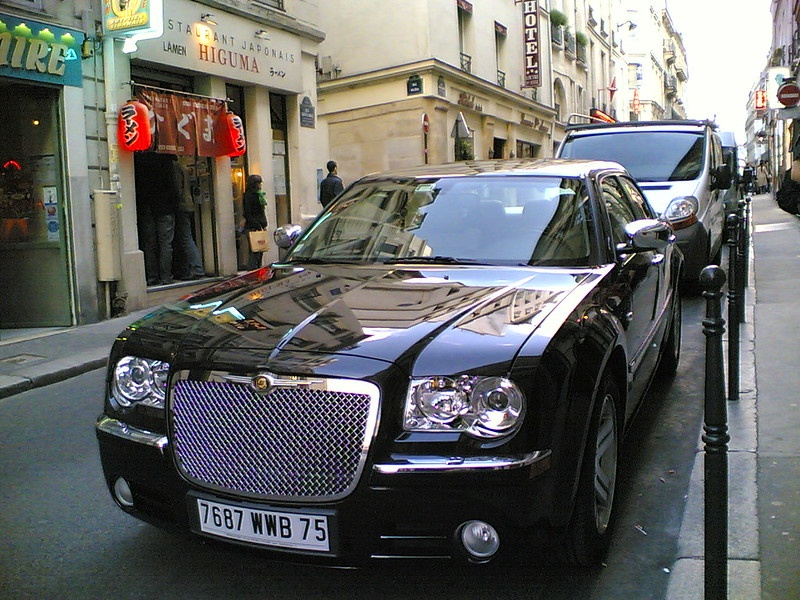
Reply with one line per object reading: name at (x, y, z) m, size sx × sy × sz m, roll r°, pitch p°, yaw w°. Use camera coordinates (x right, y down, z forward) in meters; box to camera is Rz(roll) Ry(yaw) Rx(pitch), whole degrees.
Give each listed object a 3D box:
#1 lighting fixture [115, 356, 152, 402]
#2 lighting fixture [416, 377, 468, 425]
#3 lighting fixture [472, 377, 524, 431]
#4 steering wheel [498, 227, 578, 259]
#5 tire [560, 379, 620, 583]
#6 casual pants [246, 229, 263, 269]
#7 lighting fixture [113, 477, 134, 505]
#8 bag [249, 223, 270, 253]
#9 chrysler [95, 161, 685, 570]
lighting fixture at (-1.257, 0.377, 3.253) m, size 0.178 × 0.224 × 0.066 m, roll 2°, pitch -1°, yaw 19°
lighting fixture at (0.174, 0.412, 2.755) m, size 0.201 × 0.170 × 0.060 m, roll -3°, pitch 9°, yaw 3°
lighting fixture at (0.394, 0.427, 2.746) m, size 0.204 × 0.205 × 0.072 m, roll -2°, pitch 10°, yaw 8°
steering wheel at (0.878, -0.312, 3.934) m, size 0.242 × 0.172 × 0.092 m, roll 6°, pitch -30°, yaw 20°
tire at (0.837, 0.828, 3.057) m, size 0.211 × 0.668 × 0.668 m, roll -1°, pitch 52°, yaw 19°
casual pants at (-2.679, -0.913, 12.921) m, size 0.212 × 0.754 × 0.445 m, roll 12°, pitch 15°, yaw 33°
lighting fixture at (-1.324, 0.936, 3.307) m, size 0.036 × 0.141 × 0.133 m, roll -15°, pitch 4°, yaw -41°
bag at (-2.632, -1.144, 12.929) m, size 0.192 × 0.577 × 0.548 m, roll 0°, pitch 5°, yaw 27°
chrysler at (0.464, 0.041, 4.177) m, size 1.787 × 1.272 × 3.384 m, roll -1°, pitch 2°, yaw 25°
